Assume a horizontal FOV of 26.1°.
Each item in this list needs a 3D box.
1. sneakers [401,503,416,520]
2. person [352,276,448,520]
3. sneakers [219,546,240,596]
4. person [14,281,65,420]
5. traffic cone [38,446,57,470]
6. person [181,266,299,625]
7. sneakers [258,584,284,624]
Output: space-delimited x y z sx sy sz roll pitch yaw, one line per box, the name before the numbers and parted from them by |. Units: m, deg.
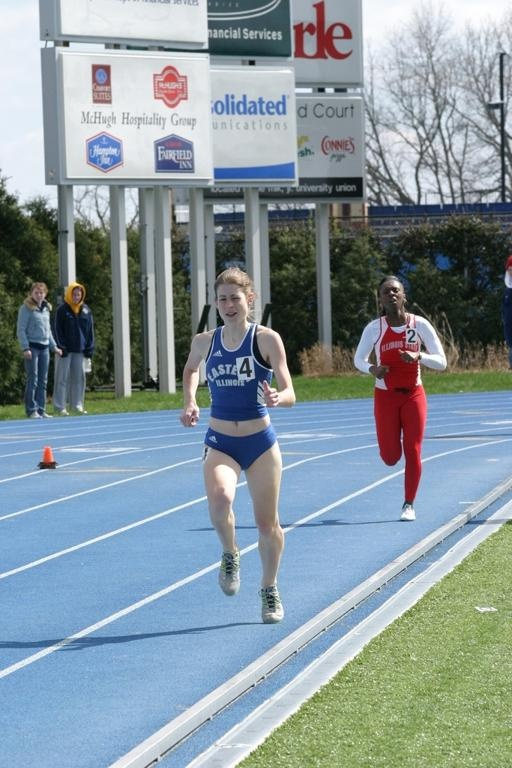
sneakers | 1.057 0.905 7.675 0.093 0.097 0.243 -1 -6 11
person | 1.026 0.105 7.893 0.651 1.729 1.248 -2 3 9
sneakers | -0.123 0.866 5.058 0.076 0.224 0.090 -2 -4 2
person | -3.323 -0.466 16.784 0.598 2.058 1.078 -3 3 -11
traffic cone | -2.107 0.771 11.162 0.226 0.253 0.226 0 -3 -6
person | -0.084 0.277 5.156 0.535 1.611 0.787 -3 3 0
sneakers | 0.069 0.992 4.949 0.099 0.165 0.164 -3 3 0
